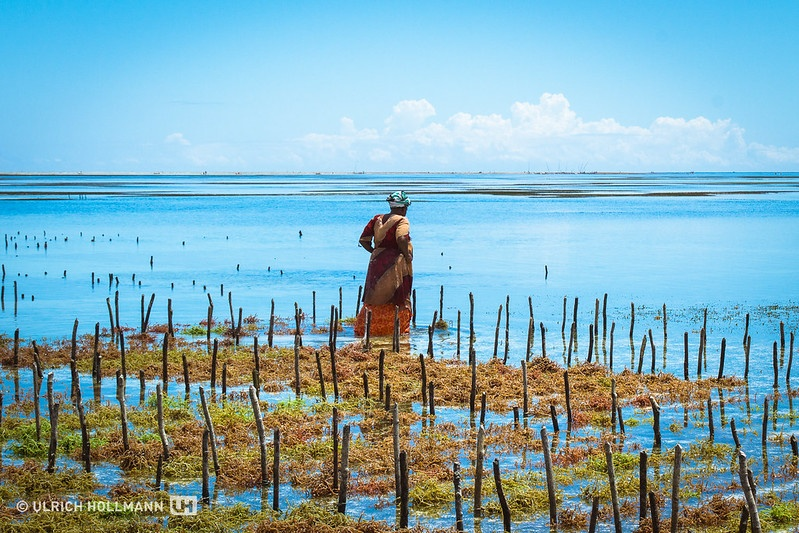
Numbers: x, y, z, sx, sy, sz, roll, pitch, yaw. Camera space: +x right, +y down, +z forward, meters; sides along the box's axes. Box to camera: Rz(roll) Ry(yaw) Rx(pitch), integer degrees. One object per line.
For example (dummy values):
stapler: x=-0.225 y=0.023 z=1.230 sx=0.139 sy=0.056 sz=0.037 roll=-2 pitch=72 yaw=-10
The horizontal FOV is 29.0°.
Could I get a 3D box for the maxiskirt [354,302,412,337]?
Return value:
maxiskirt: x=-0.959 y=2.644 z=79.677 sx=2.534 sy=1.601 sz=1.523 roll=-2 pitch=7 yaw=1
